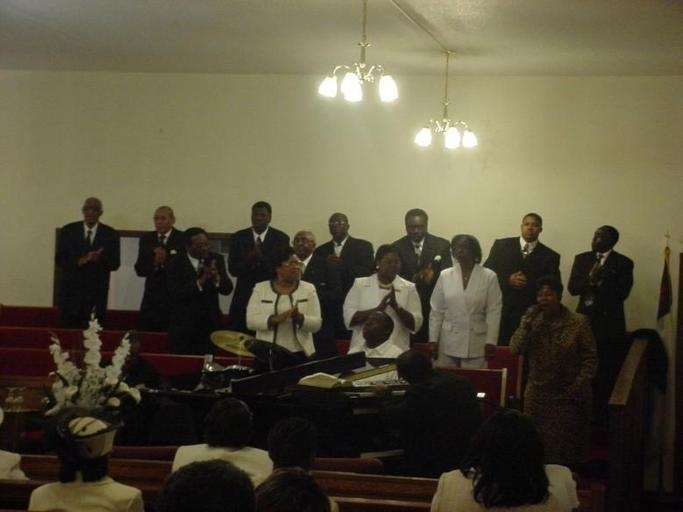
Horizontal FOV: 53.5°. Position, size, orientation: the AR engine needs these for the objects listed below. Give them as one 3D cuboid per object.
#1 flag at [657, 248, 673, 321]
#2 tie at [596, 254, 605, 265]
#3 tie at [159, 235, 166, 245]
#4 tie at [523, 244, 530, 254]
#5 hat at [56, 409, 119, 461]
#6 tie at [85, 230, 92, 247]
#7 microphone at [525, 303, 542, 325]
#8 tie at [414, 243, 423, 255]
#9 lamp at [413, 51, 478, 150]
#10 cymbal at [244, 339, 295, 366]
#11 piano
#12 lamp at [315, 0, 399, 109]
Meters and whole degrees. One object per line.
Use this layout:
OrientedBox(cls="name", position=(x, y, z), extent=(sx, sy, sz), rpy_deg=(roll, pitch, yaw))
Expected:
OrientedBox(cls="flag", position=(3.283, 0.272, 6.837), extent=(0.132, 0.788, 0.378), rpy_deg=(4, 1, 26))
OrientedBox(cls="tie", position=(2.638, 0.038, 6.881), extent=(0.070, 0.100, 0.027), rpy_deg=(13, -11, 15))
OrientedBox(cls="tie", position=(-1.959, -0.168, 7.389), extent=(0.057, 0.080, 0.019), rpy_deg=(8, -28, 0))
OrientedBox(cls="tie", position=(1.891, -0.069, 6.960), extent=(0.052, 0.085, 0.050), rpy_deg=(5, 4, -34))
OrientedBox(cls="hat", position=(-1.345, 0.899, 3.539), extent=(0.313, 0.155, 0.323), rpy_deg=(2, 4, -5))
OrientedBox(cls="tie", position=(-2.846, -0.195, 7.622), extent=(0.051, 0.161, 0.043), rpy_deg=(1, -32, -9))
OrientedBox(cls="microphone", position=(1.566, 0.470, 5.530), extent=(0.102, 0.155, 0.040), rpy_deg=(36, -18, 19))
OrientedBox(cls="tie", position=(0.787, -0.067, 6.971), extent=(0.076, 0.105, 0.028), rpy_deg=(6, -30, 7))
OrientedBox(cls="lamp", position=(1.187, -1.707, 7.616), extent=(0.722, 1.053, 0.361), rpy_deg=(4, 1, 13))
OrientedBox(cls="cymbal", position=(-0.570, 0.791, 5.582), extent=(0.318, 0.216, 0.113), rpy_deg=(11, 37, 0))
OrientedBox(cls="piano", position=(0.062, 1.119, 4.827), extent=(0.793, 0.543, 0.388), rpy_deg=(4, 1, -5))
OrientedBox(cls="lamp", position=(0.229, -1.969, 7.137), extent=(0.922, 0.952, 1.838), rpy_deg=(4, 1, -2))
